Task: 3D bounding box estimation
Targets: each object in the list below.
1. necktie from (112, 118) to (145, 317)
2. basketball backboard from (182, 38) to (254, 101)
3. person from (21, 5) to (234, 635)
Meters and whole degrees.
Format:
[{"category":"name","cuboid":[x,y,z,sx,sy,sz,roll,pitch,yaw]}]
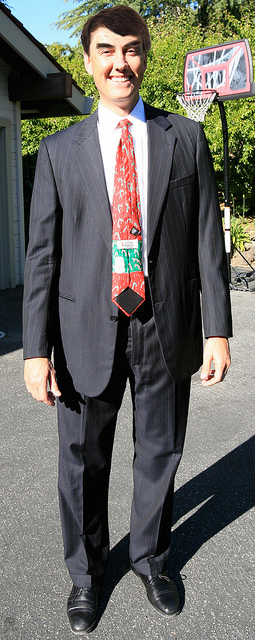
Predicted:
[{"category":"necktie","cuboid":[-0.005,-0.264,1.048,0.072,0.500,0.086,-3,6,-30]},{"category":"basketball backboard","cuboid":[1.908,-5.147,8.693,0.427,1.462,2.153,-3,8,-29]},{"category":"person","cuboid":[0.001,0.112,1.283,0.615,1.877,0.413,-4,6,-32]}]
